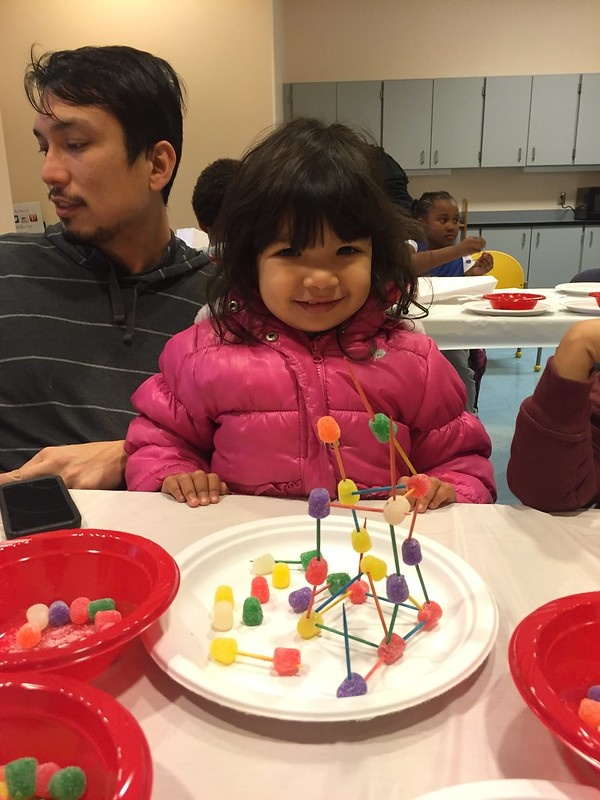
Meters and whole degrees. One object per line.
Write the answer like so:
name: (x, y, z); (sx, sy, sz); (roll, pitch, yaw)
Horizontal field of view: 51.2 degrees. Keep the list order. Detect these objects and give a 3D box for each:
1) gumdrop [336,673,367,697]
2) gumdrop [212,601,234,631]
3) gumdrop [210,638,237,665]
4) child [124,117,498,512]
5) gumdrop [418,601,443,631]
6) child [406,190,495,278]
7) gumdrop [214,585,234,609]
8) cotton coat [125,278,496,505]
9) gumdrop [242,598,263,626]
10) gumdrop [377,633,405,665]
gumdrop: (0.041, 0.226, 0.494); (0.021, 0.005, 0.015); (-14, 40, -4)
gumdrop: (-0.066, 0.207, 0.598); (0.025, 0.026, 0.024); (2, -6, 4)
gumdrop: (-0.066, 0.215, 0.548); (0.020, 0.020, 0.024); (9, -10, -37)
child: (0.012, -0.108, 0.925); (0.586, 0.573, 0.361); (-8, 23, -13)
gumdrop: (0.124, 0.200, 0.582); (0.020, 0.024, 0.008); (-2, 5, -29)
child: (0.729, -0.685, 3.017); (0.416, 0.641, 0.400); (-2, 18, 5)
gumdrop: (-0.073, 0.194, 0.618); (0.021, 0.018, 0.020); (1, 4, 5)
cotton coat: (0.012, 0.021, 0.921); (0.623, 0.375, 0.319); (0, 14, 1)
gumdrop: (-0.044, 0.202, 0.602); (0.023, 0.022, 0.023); (0, 2, -1)
gumdrop: (0.082, 0.218, 0.547); (0.025, 0.022, 0.021); (-2, 22, 2)
